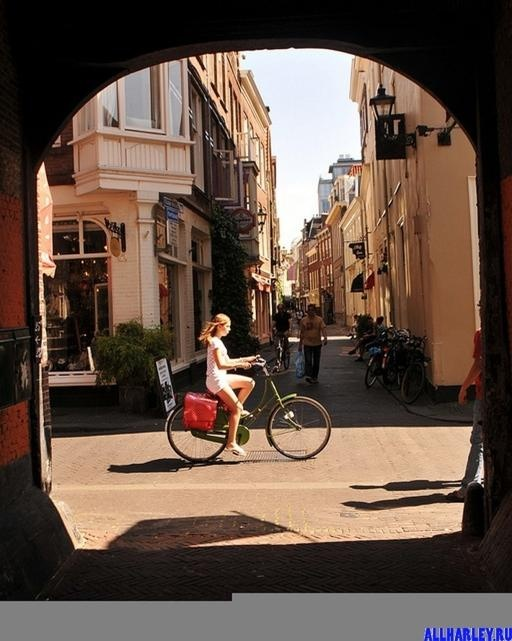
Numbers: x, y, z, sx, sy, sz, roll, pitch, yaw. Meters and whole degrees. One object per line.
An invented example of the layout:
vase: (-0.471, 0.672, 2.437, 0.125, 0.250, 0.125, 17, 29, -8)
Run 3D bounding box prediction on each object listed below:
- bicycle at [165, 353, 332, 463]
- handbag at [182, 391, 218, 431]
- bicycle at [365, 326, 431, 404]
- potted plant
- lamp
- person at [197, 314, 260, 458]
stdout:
bicycle: (-0.036, 1.041, 7.879, 1.870, 1.339, 0.979, -2, 4, 1)
handbag: (-0.624, 1.020, 7.277, 0.402, 0.475, 0.306, 2, -4, 0)
bicycle: (2.888, 0.837, 13.356, 0.715, 1.028, 1.562, 10, -2, 22)
potted plant: (-2.095, 0.723, 11.180, 1.461, 1.975, 1.348, -1, -1, -14)
lamp: (2.744, -3.916, 13.204, 0.810, 1.674, 0.542, -1, -15, 5)
person: (-0.436, 0.937, 9.775, 1.023, 2.313, 0.923, -3, 20, -4)
